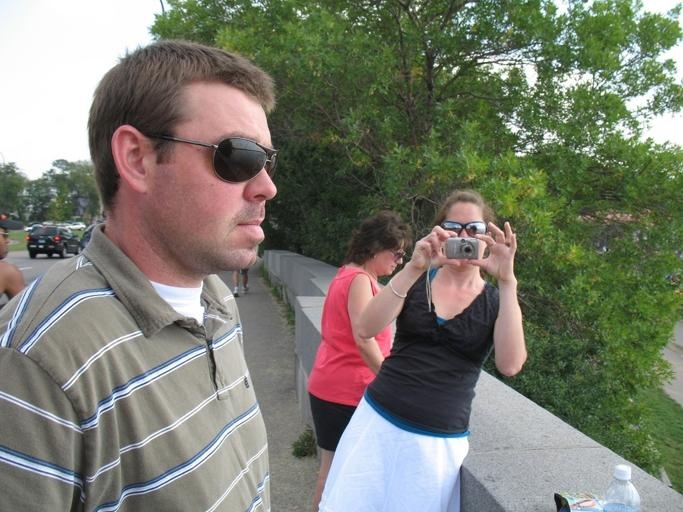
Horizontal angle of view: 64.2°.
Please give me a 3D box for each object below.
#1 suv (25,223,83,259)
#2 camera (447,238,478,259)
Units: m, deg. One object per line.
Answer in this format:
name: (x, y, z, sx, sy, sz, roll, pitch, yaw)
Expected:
suv: (-15.839, -0.822, 30.293, 1.759, 1.600, 3.790, 1, 7, -6)
camera: (0.681, -0.039, 3.068, 0.161, 0.119, 0.118, 1, 1, 0)
